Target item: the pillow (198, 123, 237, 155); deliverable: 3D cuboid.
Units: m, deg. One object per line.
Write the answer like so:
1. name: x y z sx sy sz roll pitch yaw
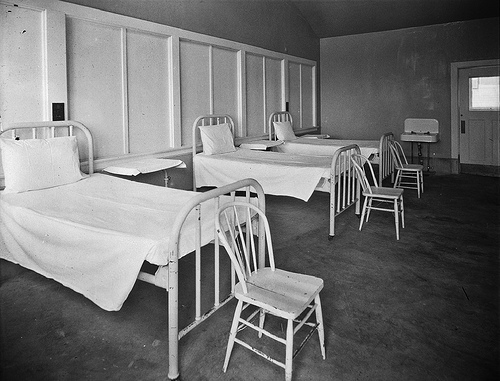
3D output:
1. pillow: -0.502 -0.768 4.666 0.151 0.491 0.521 -13 -3 42

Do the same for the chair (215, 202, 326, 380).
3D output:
1. chair: 0.120 0.692 2.120 0.740 1.320 0.674 4 12 31

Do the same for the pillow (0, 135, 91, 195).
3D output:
1. pillow: -1.794 -0.213 2.729 0.113 0.323 0.523 -13 2 30

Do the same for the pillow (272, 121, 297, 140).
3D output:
1. pillow: 0.646 -1.174 6.171 0.186 0.387 0.515 5 16 39

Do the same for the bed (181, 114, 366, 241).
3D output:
1. bed: 0.325 -0.364 4.565 2.194 1.509 1.235 6 16 29

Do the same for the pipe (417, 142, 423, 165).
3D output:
1. pipe: 3.703 -0.822 6.923 0.136 0.485 0.307 6 14 33

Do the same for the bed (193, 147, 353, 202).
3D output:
1. bed: 0.153 -0.194 4.520 1.772 0.502 1.074 7 4 8

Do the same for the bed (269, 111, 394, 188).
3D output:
1. bed: 1.409 -0.728 5.910 2.278 1.549 1.367 3 12 20

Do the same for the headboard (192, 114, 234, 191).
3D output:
1. headboard: -0.555 -0.579 4.897 0.686 1.202 0.042 -9 23 -28

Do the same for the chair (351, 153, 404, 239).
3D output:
1. chair: 1.528 0.023 3.744 0.592 0.916 0.579 7 16 45

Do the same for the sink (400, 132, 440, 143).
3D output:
1. sink: 3.647 -1.132 6.780 0.726 0.231 0.554 5 14 31

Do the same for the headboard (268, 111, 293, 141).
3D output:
1. headboard: 0.567 -1.256 6.189 0.046 0.535 0.707 4 8 37

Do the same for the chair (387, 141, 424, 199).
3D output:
1. chair: 2.599 -0.417 5.271 0.513 0.858 0.486 2 15 26

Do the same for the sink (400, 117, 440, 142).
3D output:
1. sink: 3.651 -1.317 6.760 0.744 0.524 0.593 5 13 29
